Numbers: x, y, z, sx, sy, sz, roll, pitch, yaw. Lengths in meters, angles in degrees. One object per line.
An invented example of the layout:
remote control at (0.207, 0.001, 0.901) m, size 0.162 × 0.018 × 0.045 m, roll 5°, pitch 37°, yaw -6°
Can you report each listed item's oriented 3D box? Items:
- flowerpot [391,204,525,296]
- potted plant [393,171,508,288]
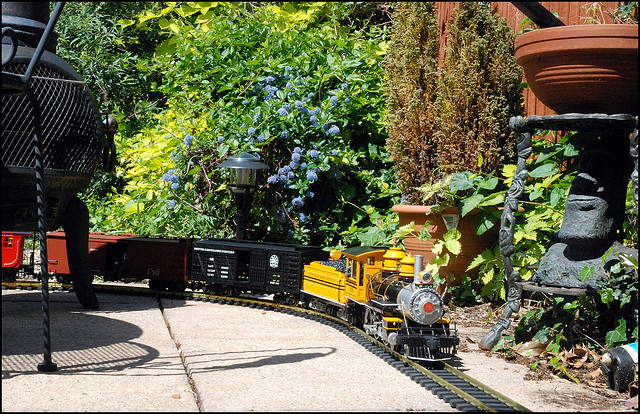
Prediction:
flowerpot at (1.839, 0.655, 11.191) m, size 1.521 × 0.976 × 1.451 m, roll -1°, pitch 1°, yaw -14°
potted plant at (1.848, 0.347, 10.995) m, size 1.786 × 1.197 × 1.701 m, roll 0°, pitch -2°, yaw -8°
